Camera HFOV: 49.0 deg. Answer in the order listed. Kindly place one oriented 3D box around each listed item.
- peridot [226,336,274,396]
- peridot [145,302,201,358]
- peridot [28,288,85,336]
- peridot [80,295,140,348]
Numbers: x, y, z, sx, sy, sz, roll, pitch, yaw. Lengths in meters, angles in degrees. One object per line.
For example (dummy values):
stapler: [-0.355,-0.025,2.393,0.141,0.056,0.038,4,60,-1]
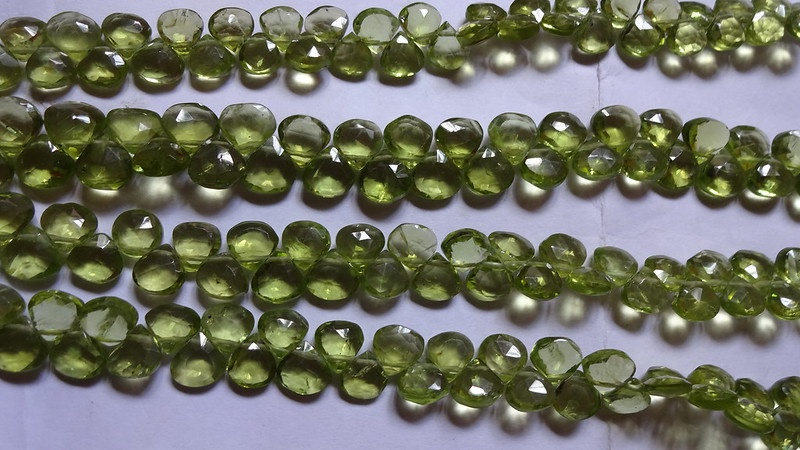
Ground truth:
peridot: [-0.294,0.271,1.738,0.078,0.074,0.077,-28,-56,26]
peridot: [-0.447,0.207,1.729,0.091,0.097,0.051,18,-21,-4]
peridot: [-0.683,0.171,1.726,0.091,0.088,0.027,16,-4,0]
peridot: [-0.578,0.189,1.724,0.097,0.098,0.023,2,-3,-7]
